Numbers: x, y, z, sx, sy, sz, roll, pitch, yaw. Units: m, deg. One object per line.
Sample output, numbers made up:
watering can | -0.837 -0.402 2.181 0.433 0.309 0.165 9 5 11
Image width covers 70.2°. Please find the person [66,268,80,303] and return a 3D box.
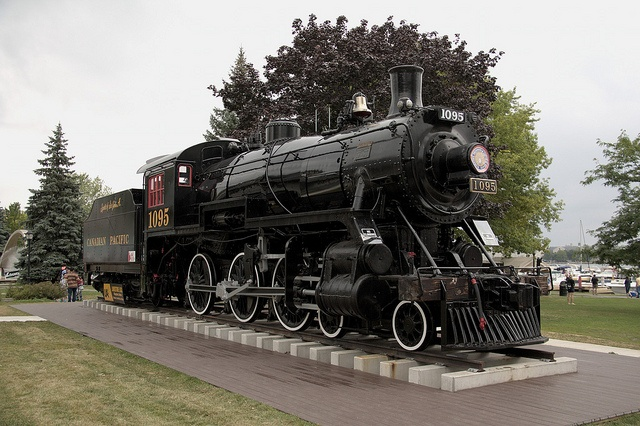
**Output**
person | -11.877 3.547 21.871 0.534 1.479 1.320 -1 0 -28

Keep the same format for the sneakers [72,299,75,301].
sneakers | -11.776 4.172 21.811 0.076 0.096 0.139 6 -12 -36

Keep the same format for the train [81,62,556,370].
train | -2.051 0.534 15.131 5.633 6.618 17.103 3 -5 -36

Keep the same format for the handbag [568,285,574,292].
handbag | 13.871 4.146 25.136 0.330 0.250 0.340 -1 -1 -20
